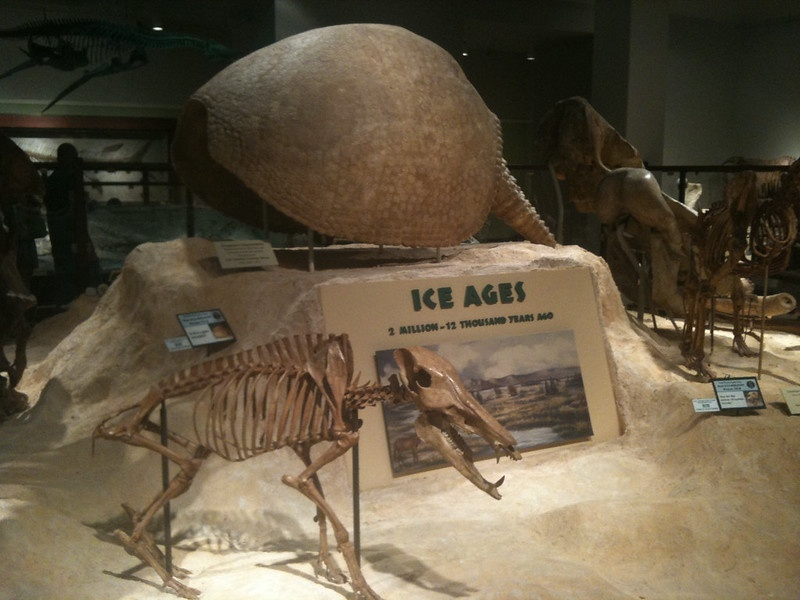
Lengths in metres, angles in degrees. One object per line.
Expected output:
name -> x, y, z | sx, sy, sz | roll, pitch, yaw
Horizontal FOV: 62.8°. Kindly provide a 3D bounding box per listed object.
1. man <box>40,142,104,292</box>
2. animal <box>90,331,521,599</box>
man -> -3.477, -0.832, 6.940 | 0.392, 1.577, 0.654 | -18, 17, -38
animal -> -0.506, 0.877, 3.782 | 2.105, 1.306, 1.143 | -5, 14, 7
